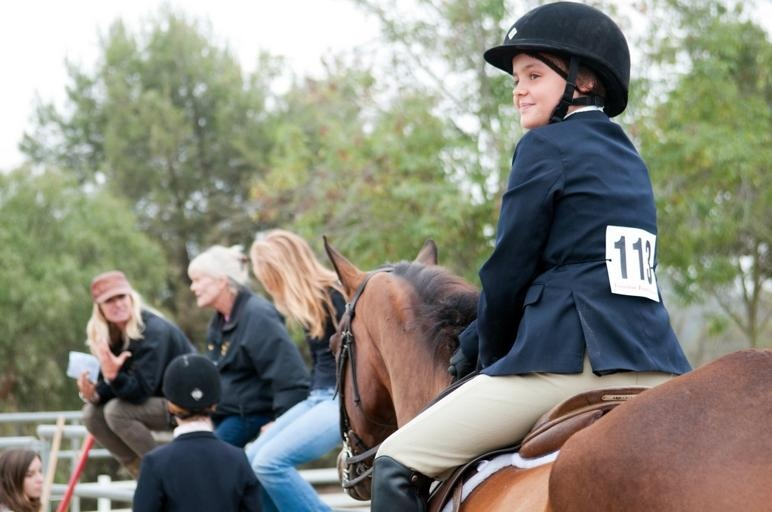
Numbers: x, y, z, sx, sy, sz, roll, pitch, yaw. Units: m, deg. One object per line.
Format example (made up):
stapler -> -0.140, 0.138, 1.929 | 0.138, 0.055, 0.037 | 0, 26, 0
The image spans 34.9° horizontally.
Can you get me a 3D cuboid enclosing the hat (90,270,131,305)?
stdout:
hat -> -2.723, 0.310, 12.193 | 0.395, 0.379, 0.232 | 1, -13, -3
